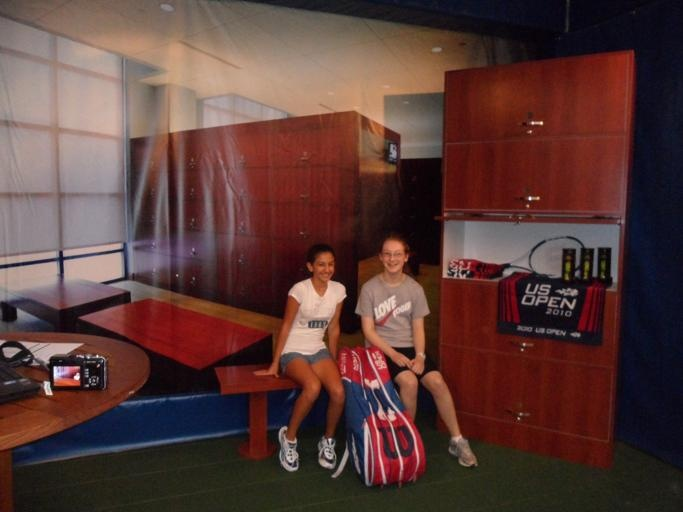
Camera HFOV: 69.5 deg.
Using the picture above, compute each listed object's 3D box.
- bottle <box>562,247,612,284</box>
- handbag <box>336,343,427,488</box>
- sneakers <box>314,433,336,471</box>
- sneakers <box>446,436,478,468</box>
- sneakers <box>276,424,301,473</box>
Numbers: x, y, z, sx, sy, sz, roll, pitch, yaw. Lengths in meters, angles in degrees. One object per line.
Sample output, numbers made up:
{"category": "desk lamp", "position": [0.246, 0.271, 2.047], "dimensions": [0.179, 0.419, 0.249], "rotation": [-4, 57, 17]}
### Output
{"category": "bottle", "position": [1.700, 0.058, 3.386], "dimensions": [0.305, 0.244, 0.249], "rotation": [4, 7, 30]}
{"category": "handbag", "position": [0.215, 1.026, 3.222], "dimensions": [0.407, 0.750, 0.571], "rotation": [-3, 7, -25]}
{"category": "sneakers", "position": [-0.096, 1.286, 3.342], "dimensions": [0.135, 0.205, 0.234], "rotation": [0, 6, -2]}
{"category": "sneakers", "position": [0.836, 1.305, 3.359], "dimensions": [0.181, 0.167, 0.204], "rotation": [0, 6, 2]}
{"category": "sneakers", "position": [-0.357, 1.266, 3.330], "dimensions": [0.145, 0.255, 0.252], "rotation": [-1, 6, -7]}
